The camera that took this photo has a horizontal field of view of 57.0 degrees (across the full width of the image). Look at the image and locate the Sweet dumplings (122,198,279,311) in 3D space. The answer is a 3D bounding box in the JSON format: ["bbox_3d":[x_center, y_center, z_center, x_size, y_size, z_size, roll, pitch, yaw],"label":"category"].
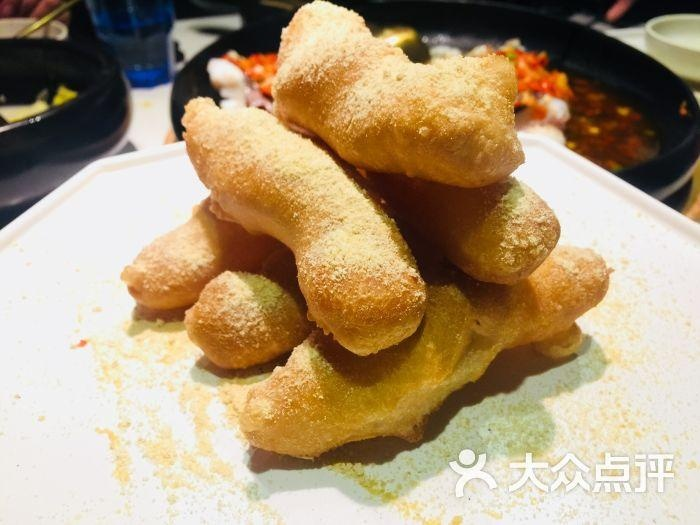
[{"bbox_3d":[-0.257,0.005,1.169,0.246,0.096,0.155,-20,63,-8],"label":"Sweet dumplings"}]
